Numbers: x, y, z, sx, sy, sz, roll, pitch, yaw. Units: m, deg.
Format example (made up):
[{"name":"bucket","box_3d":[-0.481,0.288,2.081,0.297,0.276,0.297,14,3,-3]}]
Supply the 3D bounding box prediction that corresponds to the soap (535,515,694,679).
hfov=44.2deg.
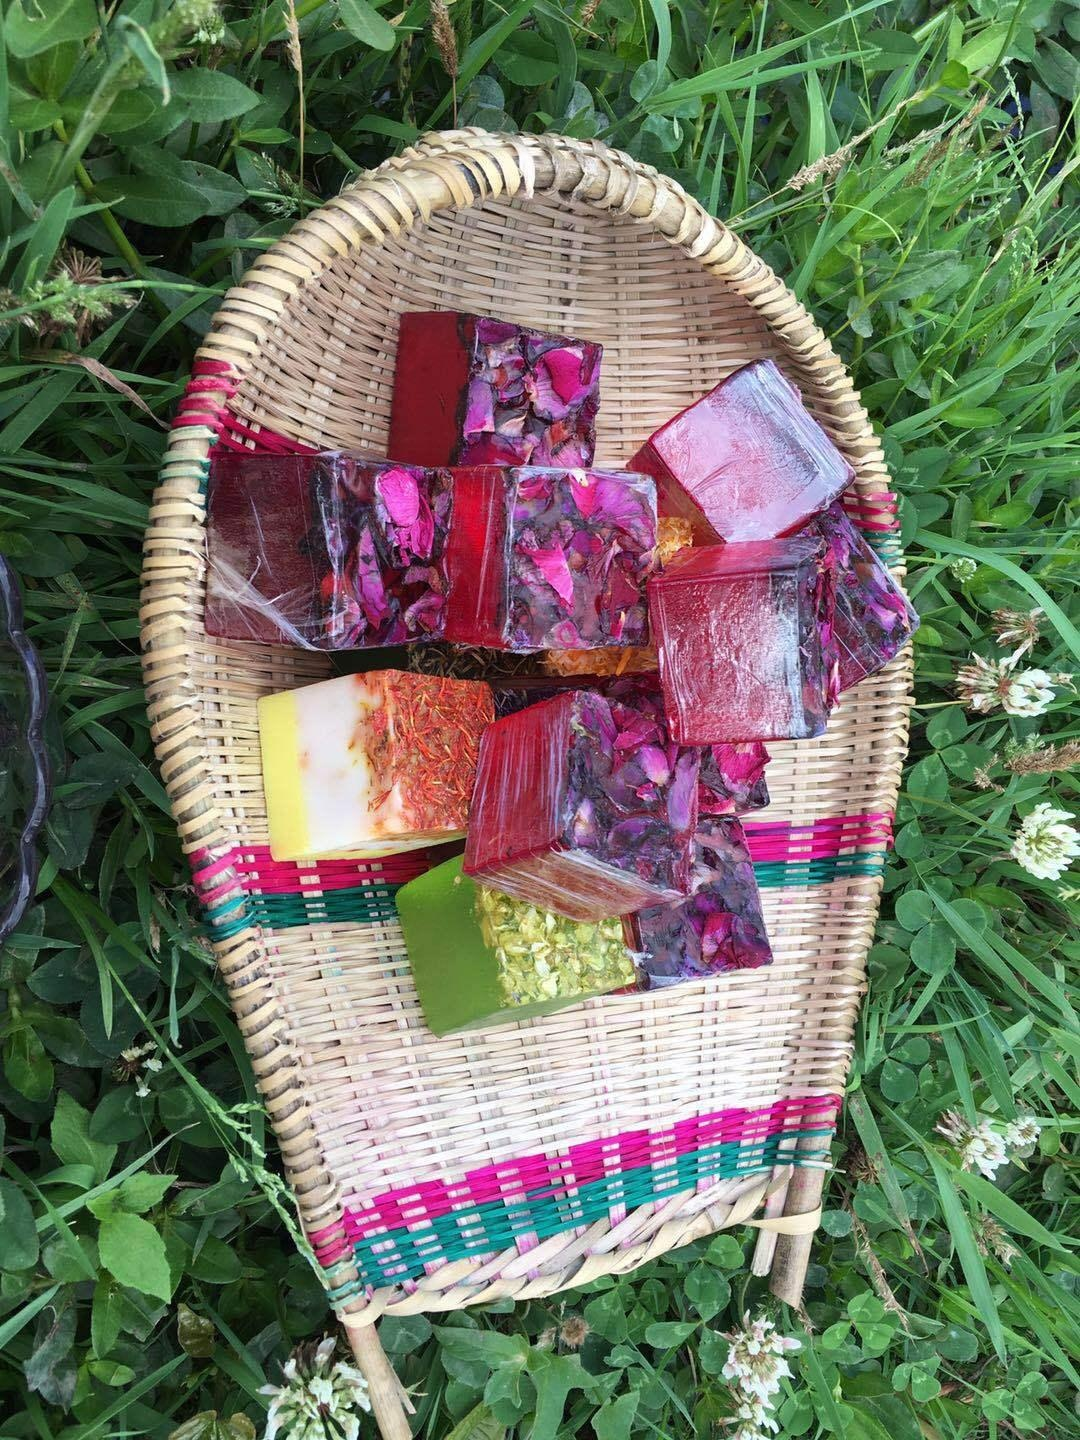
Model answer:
[{"name":"soap","box_3d":[0.086,-0.095,1.415,0.189,0.049,0.163,2,106,-7]}]

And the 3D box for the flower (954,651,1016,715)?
[{"name":"flower","box_3d":[0.536,-0.046,1.634,0.074,0.078,0.063,-16,88,21]}]

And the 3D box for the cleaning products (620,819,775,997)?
[{"name":"cleaning products","box_3d":[0.161,0.191,1.401,0.191,0.050,0.161,-12,99,-31]}]

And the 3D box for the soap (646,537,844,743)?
[{"name":"soap","box_3d":[0.193,-0.085,1.405,0.223,0.199,0.186,-8,97,-2]}]

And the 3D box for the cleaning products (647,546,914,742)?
[{"name":"cleaning products","box_3d":[0.202,-0.072,1.295,0.223,0.129,0.184,-6,108,-20]}]

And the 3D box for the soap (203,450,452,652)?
[{"name":"soap","box_3d":[-0.196,-0.148,1.231,0.206,0.155,0.167,3,84,0]}]

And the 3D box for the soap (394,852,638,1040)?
[{"name":"soap","box_3d":[-0.030,0.226,1.403,0.256,0.235,0.171,-10,85,-18]}]

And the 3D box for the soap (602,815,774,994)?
[{"name":"soap","box_3d":[0.158,0.187,1.408,0.197,0.057,0.161,-12,98,-30]}]

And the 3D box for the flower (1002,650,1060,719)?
[{"name":"flower","box_3d":[0.574,-0.037,1.572,0.053,0.075,0.060,12,85,1]}]

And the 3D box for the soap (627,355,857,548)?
[{"name":"soap","box_3d":[0.220,-0.266,1.372,0.157,0.073,0.161,-39,86,-4]}]

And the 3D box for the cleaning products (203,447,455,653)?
[{"name":"cleaning products","box_3d":[-0.192,-0.158,1.197,0.257,0.058,0.164,-2,104,-26]}]

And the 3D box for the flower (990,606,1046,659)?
[{"name":"flower","box_3d":[0.574,-0.103,1.611,0.061,0.028,0.065,65,33,-30]}]

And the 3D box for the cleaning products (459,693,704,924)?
[{"name":"cleaning products","box_3d":[0.043,0.083,1.251,0.219,0.158,0.216,5,84,0]}]

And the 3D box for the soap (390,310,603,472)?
[{"name":"soap","box_3d":[-0.047,-0.328,1.385,0.214,0.127,0.145,5,84,0]}]

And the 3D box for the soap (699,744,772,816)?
[{"name":"soap","box_3d":[0.204,0.063,1.400,0.079,0.072,0.073,-6,84,-1]}]

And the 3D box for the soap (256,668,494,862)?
[{"name":"soap","box_3d":[-0.155,0.043,1.278,0.222,0.126,0.166,-4,84,-1]}]

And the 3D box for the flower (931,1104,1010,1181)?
[{"name":"flower","box_3d":[0.520,0.507,1.606,0.079,0.077,0.066,34,85,3]}]

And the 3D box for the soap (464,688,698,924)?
[{"name":"soap","box_3d":[0.020,0.060,1.334,0.240,0.211,0.212,-7,102,-41]}]

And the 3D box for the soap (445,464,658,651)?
[{"name":"soap","box_3d":[0.012,-0.153,1.285,0.204,0.122,0.176,2,84,0]}]
